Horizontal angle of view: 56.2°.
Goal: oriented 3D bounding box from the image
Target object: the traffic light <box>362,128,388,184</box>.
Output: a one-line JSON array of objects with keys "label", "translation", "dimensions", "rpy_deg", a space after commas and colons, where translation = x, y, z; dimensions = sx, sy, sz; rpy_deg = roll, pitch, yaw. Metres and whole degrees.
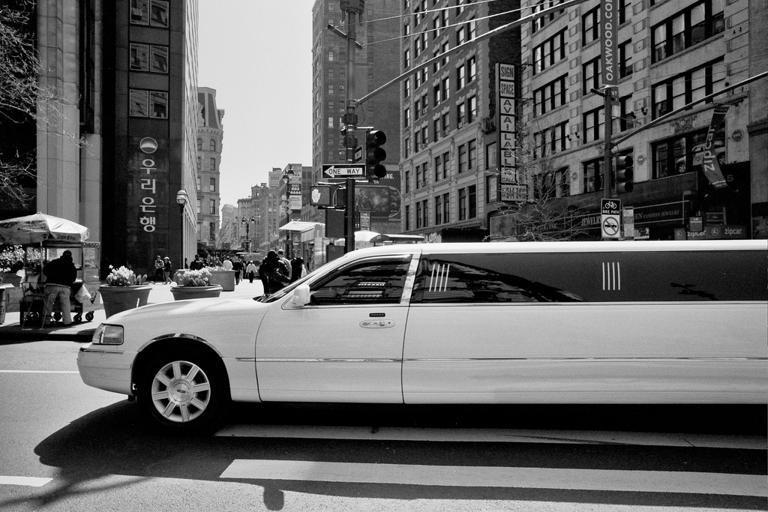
[{"label": "traffic light", "translation": [-0.224, -2.587, 18.344], "dimensions": [0.523, 1.338, 0.928], "rpy_deg": [-3, 7, -1]}]

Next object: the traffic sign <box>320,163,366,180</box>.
[{"label": "traffic sign", "translation": [-1.015, -2.158, 18.266], "dimensions": [1.074, 0.384, 0.671], "rpy_deg": [-4, 7, -7]}]

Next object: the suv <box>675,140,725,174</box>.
[{"label": "suv", "translation": [13.195, -4.189, 30.213], "dimensions": [0.761, 1.244, 2.471], "rpy_deg": [-6, 7, -18]}]

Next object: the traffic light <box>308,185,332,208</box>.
[{"label": "traffic light", "translation": [-1.672, -1.630, 19.276], "dimensions": [0.603, 0.586, 0.748], "rpy_deg": [-4, 7, -5]}]

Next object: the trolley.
[{"label": "trolley", "translation": [-8.880, 0.915, 19.604], "dimensions": [1.014, 1.861, 1.906], "rpy_deg": [-3, 0, 11]}]

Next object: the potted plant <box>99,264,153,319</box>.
[{"label": "potted plant", "translation": [-6.932, 1.051, 19.080], "dimensions": [1.197, 1.324, 1.193], "rpy_deg": [-1, -3, 34]}]

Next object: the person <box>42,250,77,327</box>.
[{"label": "person", "translation": [-8.698, 0.851, 19.174], "dimensions": [0.980, 1.975, 0.813], "rpy_deg": [-8, 8, -31]}]

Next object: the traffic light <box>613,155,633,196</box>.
[{"label": "traffic light", "translation": [7.443, -2.552, 22.258], "dimensions": [0.489, 1.110, 0.848], "rpy_deg": [-1, 7, 21]}]
